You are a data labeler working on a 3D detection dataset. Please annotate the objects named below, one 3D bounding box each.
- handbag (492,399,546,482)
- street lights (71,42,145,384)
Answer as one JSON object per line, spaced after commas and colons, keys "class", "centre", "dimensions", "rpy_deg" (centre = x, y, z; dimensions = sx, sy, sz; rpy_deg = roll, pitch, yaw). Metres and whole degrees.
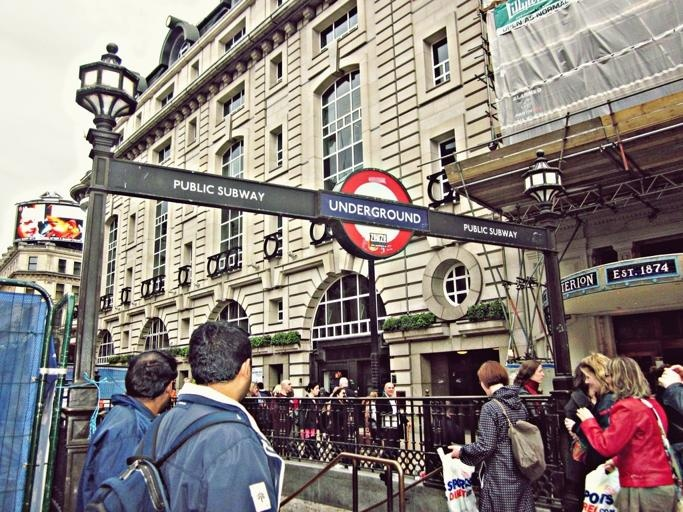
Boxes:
{"class": "handbag", "centre": [2.157, 2.208, 7.064], "dimensions": [0.465, 0.953, 0.291], "rpy_deg": [-14, -20, 32]}
{"class": "street lights", "centre": [-3.107, -0.881, 7.498], "dimensions": [0.772, 4.839, 0.681], "rpy_deg": [6, -18, -25]}
